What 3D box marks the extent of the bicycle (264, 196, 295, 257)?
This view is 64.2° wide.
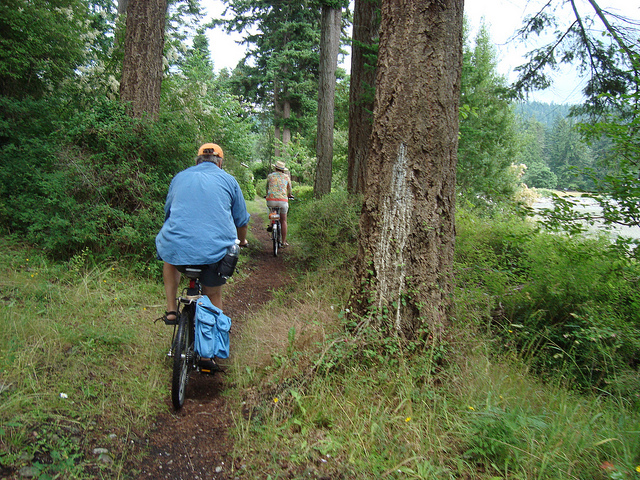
[{"bbox_3d":[-1.091,-0.257,12.540,0.947,1.327,2.067,-2,-6,-4],"label":"bicycle"}]

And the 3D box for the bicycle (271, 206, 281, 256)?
[{"bbox_3d":[-1.067,-0.227,12.018,0.160,1.146,0.380,0,9,-29],"label":"bicycle"}]

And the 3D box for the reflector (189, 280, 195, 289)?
[{"bbox_3d":[-1.631,0.570,6.449,0.067,0.129,0.074,1,1,11],"label":"reflector"}]

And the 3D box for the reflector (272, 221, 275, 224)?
[{"bbox_3d":[-1.089,-0.409,11.967,0.044,0.054,0.074,3,9,-16],"label":"reflector"}]

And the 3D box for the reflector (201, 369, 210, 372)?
[{"bbox_3d":[-1.439,1.651,6.444,0.119,0.037,0.038,9,31,-10],"label":"reflector"}]

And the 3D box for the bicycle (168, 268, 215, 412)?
[{"bbox_3d":[-1.651,1.204,6.402,0.451,1.697,0.741,2,8,-16],"label":"bicycle"}]

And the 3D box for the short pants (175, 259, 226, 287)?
[{"bbox_3d":[-1.490,0.415,6.532,0.512,0.351,0.570,1,-7,11],"label":"short pants"}]

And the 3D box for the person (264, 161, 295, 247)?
[{"bbox_3d":[-1.000,-0.834,12.243,0.610,2.047,0.672,6,8,9],"label":"person"}]

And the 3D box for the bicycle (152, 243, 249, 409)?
[{"bbox_3d":[-1.479,1.212,6.383,0.758,1.046,1.598,4,5,-9],"label":"bicycle"}]

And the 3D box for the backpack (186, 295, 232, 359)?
[{"bbox_3d":[-1.358,1.098,6.547,0.415,0.677,0.526,7,1,14],"label":"backpack"}]
